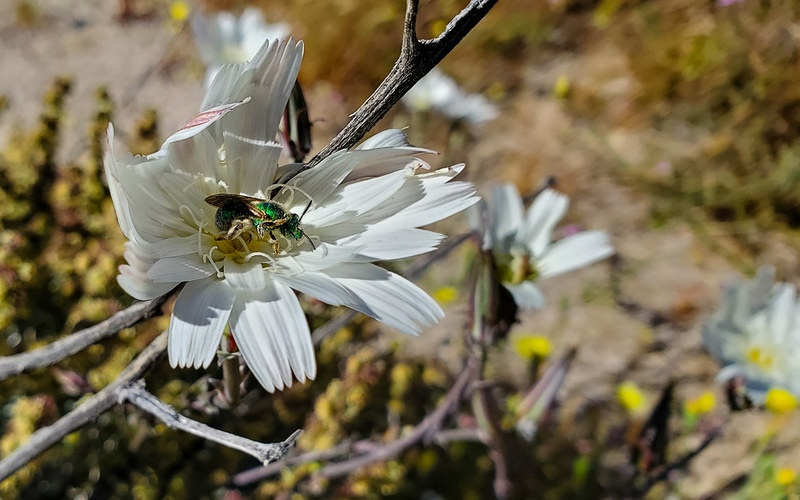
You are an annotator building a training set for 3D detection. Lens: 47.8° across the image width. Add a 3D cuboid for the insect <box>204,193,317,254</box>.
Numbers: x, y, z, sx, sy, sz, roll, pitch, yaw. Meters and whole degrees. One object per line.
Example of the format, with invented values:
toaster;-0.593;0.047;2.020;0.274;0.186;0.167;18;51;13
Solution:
insect;-0.180;-0.034;1.144;0.161;0.058;0.102;12;-1;-30
